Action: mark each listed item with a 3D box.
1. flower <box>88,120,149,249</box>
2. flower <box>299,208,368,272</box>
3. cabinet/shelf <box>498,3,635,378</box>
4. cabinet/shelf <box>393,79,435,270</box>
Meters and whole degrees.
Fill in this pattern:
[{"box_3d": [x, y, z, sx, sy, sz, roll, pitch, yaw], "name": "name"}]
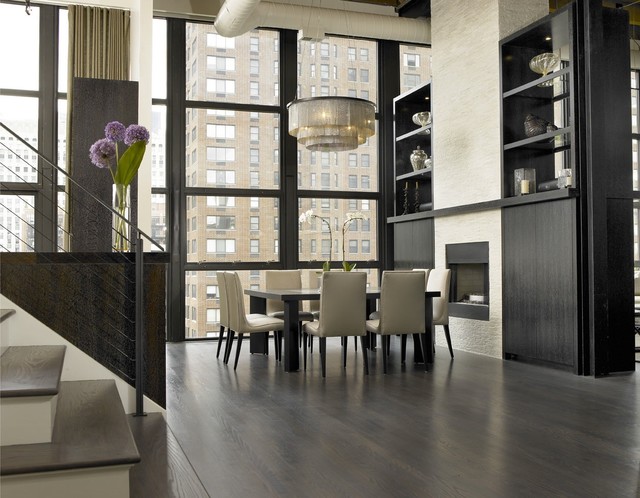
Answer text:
[{"box_3d": [-1.688, -0.507, 4.675, 0.431, 1.020, 0.407, -6, -9, -29], "name": "flower"}, {"box_3d": [0.155, -0.165, 8.622, 0.847, 0.993, 0.271, 1, -1, -17], "name": "flower"}, {"box_3d": [2.650, -0.632, 6.044, 0.813, 3.784, 1.297, -1, 2, -27], "name": "cabinet/shelf"}, {"box_3d": [1.375, -1.038, 8.328, 0.566, 2.645, 1.090, 0, 1, 7], "name": "cabinet/shelf"}]
